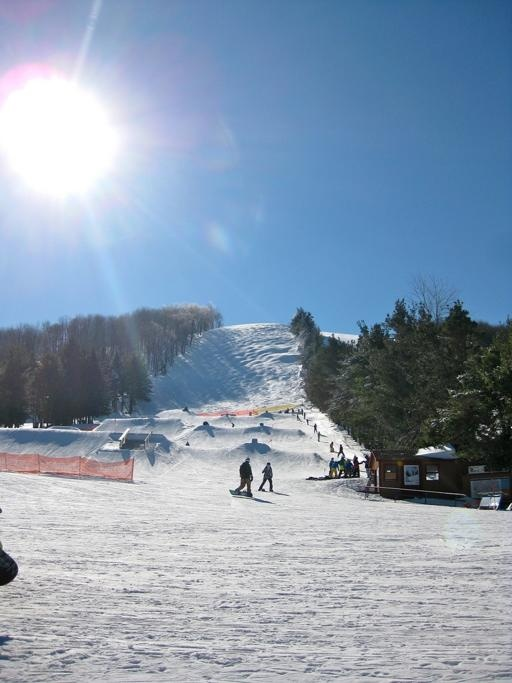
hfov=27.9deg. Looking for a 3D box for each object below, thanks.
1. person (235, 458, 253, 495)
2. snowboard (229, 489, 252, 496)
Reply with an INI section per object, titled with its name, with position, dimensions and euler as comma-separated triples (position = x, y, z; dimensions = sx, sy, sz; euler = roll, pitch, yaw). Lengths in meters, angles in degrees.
[person]
position = -0.433, 4.510, 34.363
dimensions = 0.540, 1.196, 1.783
euler = 0, -2, -1
[snowboard]
position = -0.497, 5.061, 34.240
dimensions = 0.164, 0.269, 1.033
euler = -2, -6, -32
